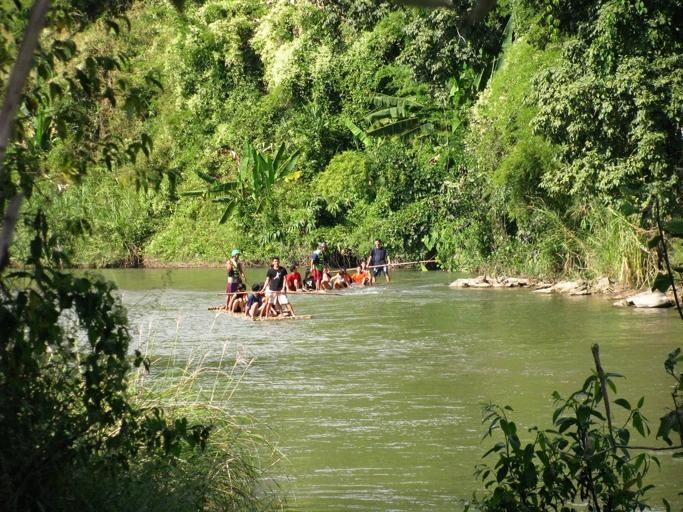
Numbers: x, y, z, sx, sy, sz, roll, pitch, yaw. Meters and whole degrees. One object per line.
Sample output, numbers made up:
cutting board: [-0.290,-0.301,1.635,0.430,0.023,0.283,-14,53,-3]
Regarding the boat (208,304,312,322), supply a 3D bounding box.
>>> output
boat: [-1.983,1.361,25.176,2.745,0.186,0.885,4,16,35]
